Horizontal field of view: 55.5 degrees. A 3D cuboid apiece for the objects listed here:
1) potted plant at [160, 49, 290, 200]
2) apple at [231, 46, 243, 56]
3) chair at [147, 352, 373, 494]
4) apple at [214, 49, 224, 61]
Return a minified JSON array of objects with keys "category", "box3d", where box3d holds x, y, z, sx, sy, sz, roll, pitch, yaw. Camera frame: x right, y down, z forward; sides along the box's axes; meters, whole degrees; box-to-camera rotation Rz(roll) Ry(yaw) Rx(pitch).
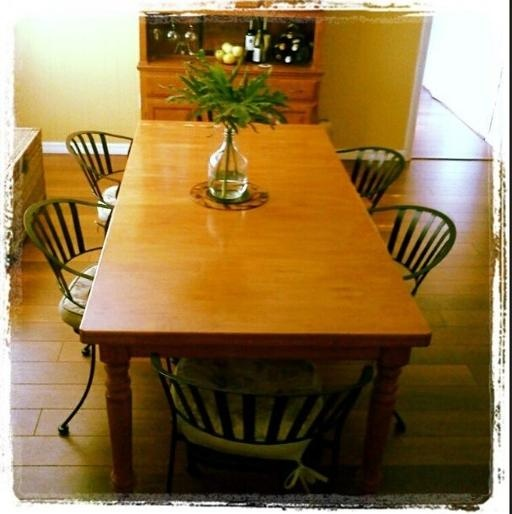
[{"category":"potted plant","box3d":[-0.097,-0.481,1.892,0.401,0.506,0.471,10,11,39]},{"category":"apple","box3d":[-0.145,-1.606,3.793,0.074,0.072,0.073,-4,9,-9]},{"category":"chair","box3d":[0.003,0.504,1.430,0.405,0.470,0.336,3,48,1]},{"category":"apple","box3d":[-0.300,-1.632,3.890,0.081,0.080,0.078,6,59,-18]}]
